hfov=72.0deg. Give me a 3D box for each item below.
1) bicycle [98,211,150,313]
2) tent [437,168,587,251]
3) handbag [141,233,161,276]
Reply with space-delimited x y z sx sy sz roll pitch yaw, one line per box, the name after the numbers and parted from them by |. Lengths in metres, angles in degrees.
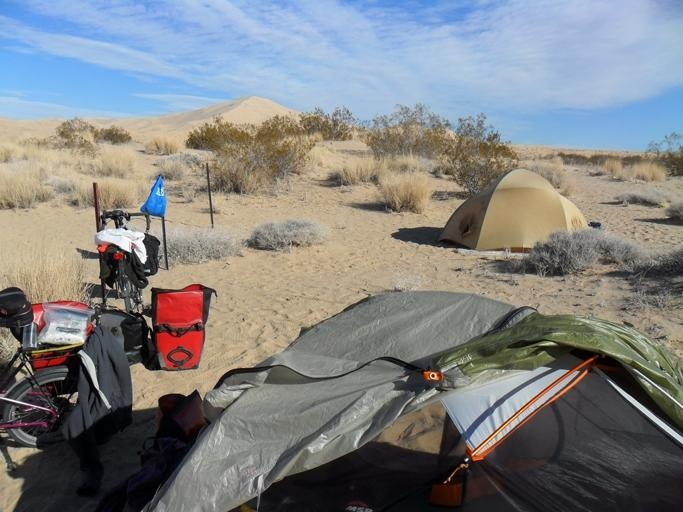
-2.241 0.107 4.864 0.509 1.141 0.704 -1 15 -25 | bicycle
3.844 -1.206 10.289 2.782 1.225 2.698 -11 15 -8 | tent
-2.025 -0.018 5.018 0.162 0.378 0.326 -2 -3 -16 | handbag
